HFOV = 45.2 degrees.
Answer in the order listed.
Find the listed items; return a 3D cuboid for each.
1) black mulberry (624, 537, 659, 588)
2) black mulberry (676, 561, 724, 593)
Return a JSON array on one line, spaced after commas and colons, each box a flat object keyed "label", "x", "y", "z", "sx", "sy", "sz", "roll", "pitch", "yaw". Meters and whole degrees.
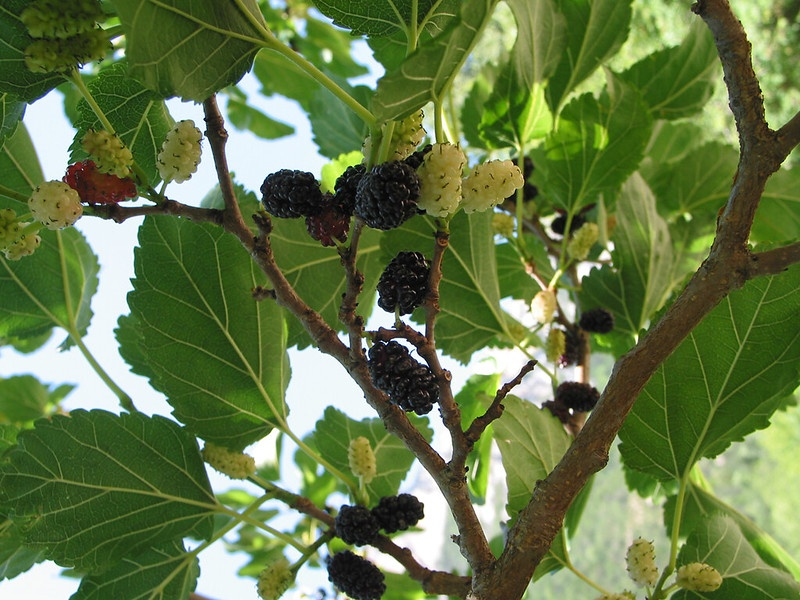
[{"label": "black mulberry", "x": 0.440, "y": 0.469, "z": 1.753, "sx": 0.059, "sy": 0.063, "sz": 0.114, "roll": 1, "pitch": 14, "yaw": 17}, {"label": "black mulberry", "x": 0.532, "y": 0.487, "z": 1.690, "sx": 0.075, "sy": 0.048, "sz": 0.046, "roll": 0, "pitch": -36, "yaw": 20}]
